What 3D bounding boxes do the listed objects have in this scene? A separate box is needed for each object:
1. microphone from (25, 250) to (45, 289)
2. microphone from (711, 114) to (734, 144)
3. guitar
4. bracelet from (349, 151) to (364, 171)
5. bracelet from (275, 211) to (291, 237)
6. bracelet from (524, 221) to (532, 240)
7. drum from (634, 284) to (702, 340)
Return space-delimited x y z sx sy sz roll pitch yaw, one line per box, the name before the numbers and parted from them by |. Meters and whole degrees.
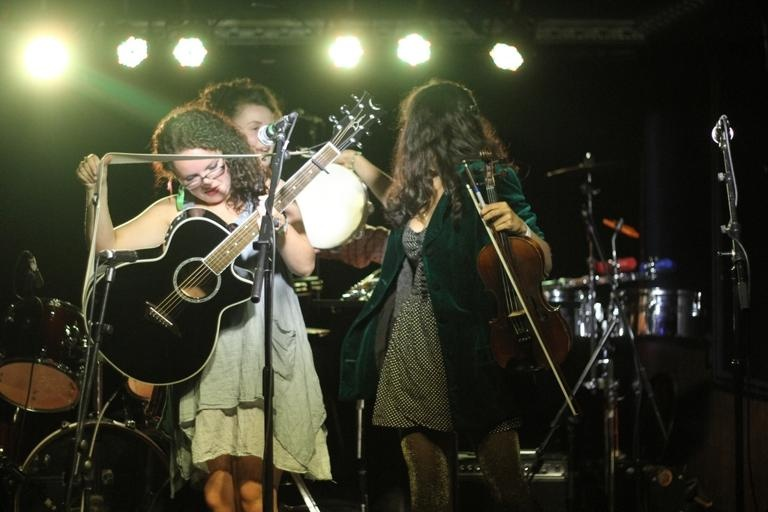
microphone | -2.503 0.113 5.786 0.084 0.253 0.097 -20 0 -24
microphone | 2.281 -0.847 5.471 0.100 0.205 0.143 -13 -18 36
guitar | -0.915 -0.132 5.693 2.751 1.115 0.374 -47 0 -4
bracelet | -0.196 -0.665 5.729 0.100 0.123 0.033 -1 -7 43
bracelet | -0.647 -0.187 5.049 0.092 0.134 0.040 0 9 -3
bracelet | 0.926 -0.145 5.181 0.070 0.084 0.082 2 7 -1
drum | 2.046 0.412 5.811 0.380 0.288 0.394 3 -6 0
